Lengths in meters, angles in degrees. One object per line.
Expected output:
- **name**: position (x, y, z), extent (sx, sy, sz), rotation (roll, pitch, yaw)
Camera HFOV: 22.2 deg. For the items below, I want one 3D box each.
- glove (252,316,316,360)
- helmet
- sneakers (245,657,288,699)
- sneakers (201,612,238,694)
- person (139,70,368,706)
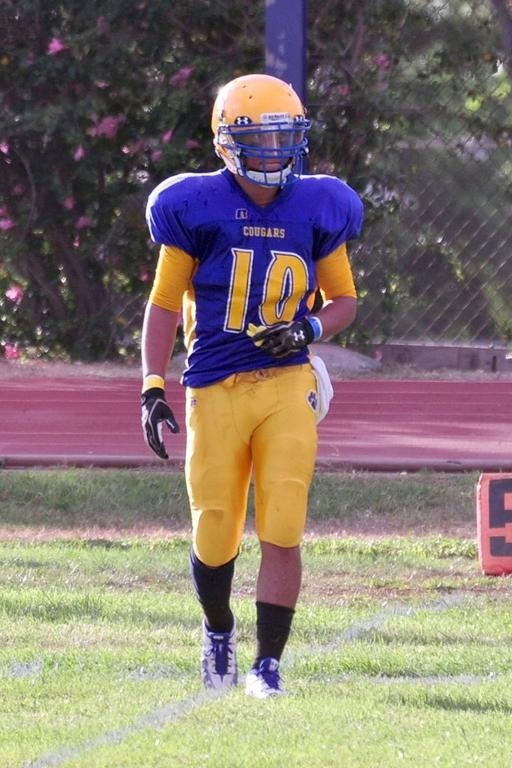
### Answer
- **glove**: position (0.085, -0.125, 3.478), extent (0.156, 0.085, 0.051), rotation (-19, 35, -15)
- **helmet**: position (0.011, -0.695, 3.553), extent (0.264, 0.312, 0.230), rotation (-1, 9, 0)
- **sneakers**: position (0.021, 0.773, 3.377), extent (0.101, 0.088, 0.133), rotation (-1, 8, -1)
- **sneakers**: position (-0.102, 0.755, 3.551), extent (0.072, 0.169, 0.081), rotation (-2, -2, -1)
- **person**: position (0.022, -0.012, 3.536), extent (0.639, 1.662, 0.583), rotation (-4, 10, -15)
